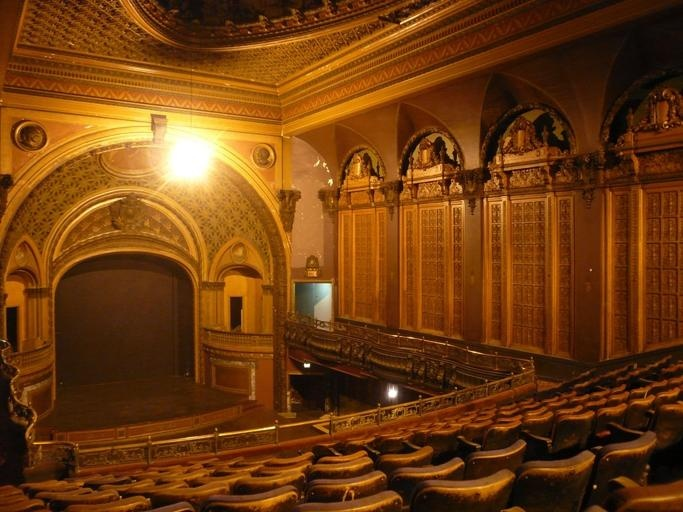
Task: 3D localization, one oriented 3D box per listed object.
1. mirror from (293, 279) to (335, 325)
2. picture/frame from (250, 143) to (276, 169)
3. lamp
[{"bbox_3d":[-0.684,1.723,20.175,1.792,1.824,1.272,0,-1,-23],"label":"mirror"},{"bbox_3d":[-2.511,-3.199,18.257,0.743,0.741,0.170,-1,10,-40],"label":"picture/frame"},{"bbox_3d":[-4.555,-3.651,17.159,1.062,2.668,3.600,0,-3,-14],"label":"lamp"}]
